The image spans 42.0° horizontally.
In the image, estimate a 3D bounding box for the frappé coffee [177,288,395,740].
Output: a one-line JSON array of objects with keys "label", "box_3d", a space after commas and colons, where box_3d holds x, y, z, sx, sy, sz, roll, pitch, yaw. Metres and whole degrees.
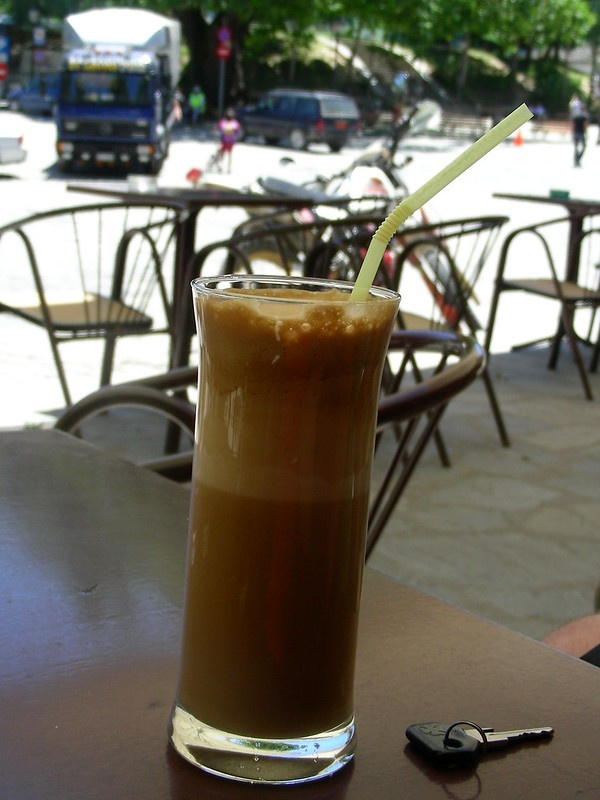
[{"label": "frappé coffee", "box_3d": [-0.018, 0.058, 0.349, 0.106, 0.202, 0.100, 3, 4, 9]}]

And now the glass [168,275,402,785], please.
[{"label": "glass", "box_3d": [-0.008, 0.049, 0.322, 0.088, 0.191, 0.088, 5, 13, -8]}]
